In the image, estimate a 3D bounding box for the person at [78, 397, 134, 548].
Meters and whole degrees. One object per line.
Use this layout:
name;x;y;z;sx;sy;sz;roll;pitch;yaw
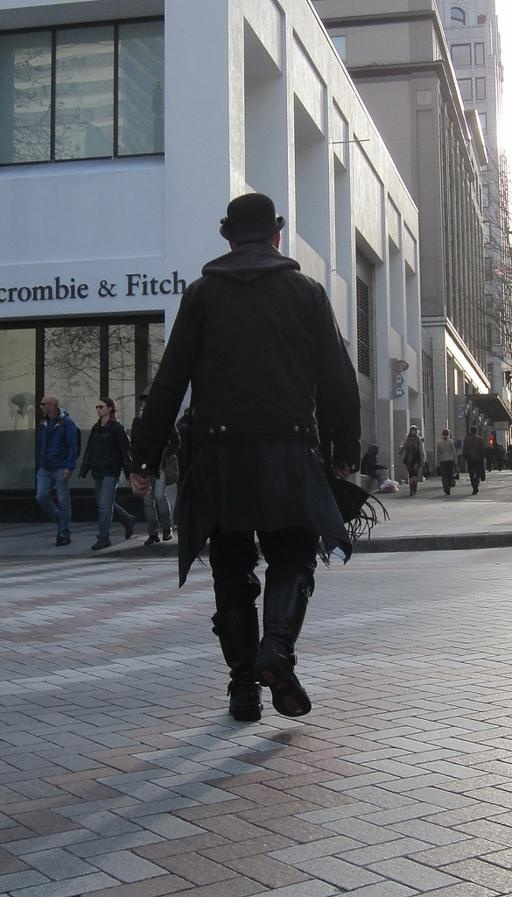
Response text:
person;-1.783;0.306;11.911;0.634;1.905;1.395;1;-5;-8

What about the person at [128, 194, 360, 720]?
person;-0.030;0.004;3.303;0.682;1.811;0.715;-3;-6;9

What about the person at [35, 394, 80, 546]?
person;-2.407;0.311;12.070;0.480;1.816;0.777;1;-5;-13

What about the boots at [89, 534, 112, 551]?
boots;-1.824;1.153;11.614;0.211;0.155;0.123;0;0;11

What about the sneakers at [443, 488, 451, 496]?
sneakers;4.848;1.150;25.114;0.186;0.221;0.347;-5;-2;1
